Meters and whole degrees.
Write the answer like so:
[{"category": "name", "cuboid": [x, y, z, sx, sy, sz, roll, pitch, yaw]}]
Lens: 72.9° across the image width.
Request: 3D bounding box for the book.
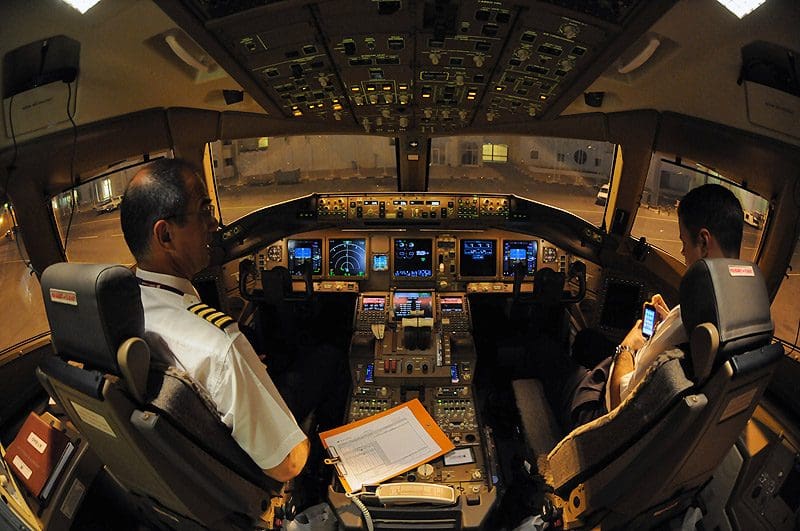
[{"category": "book", "cuboid": [-2.275, 1.185, 3.385, 0.462, 0.475, 0.147, 43, 6, 30]}]
